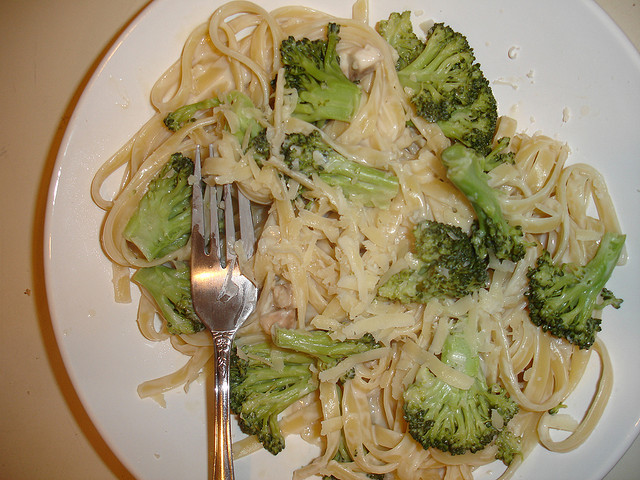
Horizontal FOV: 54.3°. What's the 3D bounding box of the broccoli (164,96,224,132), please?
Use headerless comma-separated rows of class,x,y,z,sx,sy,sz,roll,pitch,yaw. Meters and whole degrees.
broccoli,-0.814,-0.816,4.005,0.251,0.097,0.096,-38,-11,-11

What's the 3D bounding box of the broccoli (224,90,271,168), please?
broccoli,-0.434,-0.706,3.898,0.242,0.496,0.106,-24,-4,7

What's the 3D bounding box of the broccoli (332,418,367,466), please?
broccoli,0.198,1.230,4.060,0.089,0.284,0.362,1,-43,-12

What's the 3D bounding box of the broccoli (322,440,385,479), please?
broccoli,0.179,1.439,4.082,0.262,0.322,0.088,-18,-7,-11
